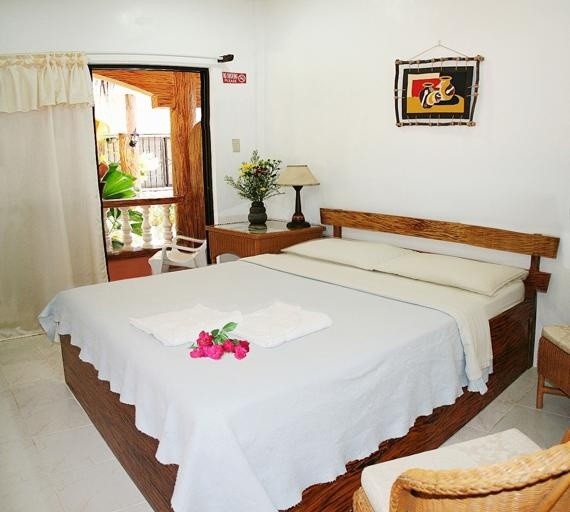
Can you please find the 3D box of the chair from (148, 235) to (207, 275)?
[{"bbox_3d":[-1.168,0.077,4.195,0.606,0.535,0.431,6,-18,-26],"label":"chair"}]

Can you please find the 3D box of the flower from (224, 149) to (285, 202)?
[{"bbox_3d":[-0.283,-0.762,3.983,0.570,0.557,0.599,-3,9,-37],"label":"flower"}]

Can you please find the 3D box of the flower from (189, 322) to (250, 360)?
[{"bbox_3d":[-0.260,0.342,1.575,0.238,0.072,0.210,-2,13,-1],"label":"flower"}]

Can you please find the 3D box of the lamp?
[{"bbox_3d":[0.080,-0.608,3.899,0.523,0.700,0.526,-4,15,-12],"label":"lamp"}]
